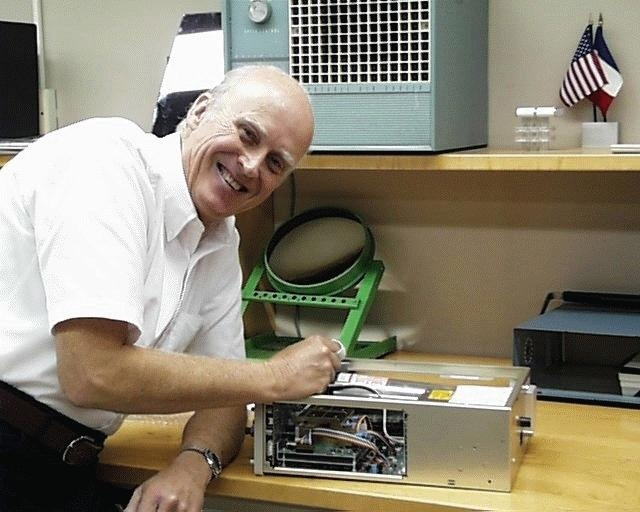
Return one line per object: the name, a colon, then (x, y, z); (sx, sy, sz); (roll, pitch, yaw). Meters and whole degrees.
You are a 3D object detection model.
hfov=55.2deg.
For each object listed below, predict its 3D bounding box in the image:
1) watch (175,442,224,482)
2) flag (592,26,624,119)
watch: (-0.210, 0.373, 1.130); (0.056, 0.059, 0.021); (13, 18, 24)
flag: (0.756, -0.491, 1.608); (0.073, 0.255, 0.058); (1, 8, 22)
